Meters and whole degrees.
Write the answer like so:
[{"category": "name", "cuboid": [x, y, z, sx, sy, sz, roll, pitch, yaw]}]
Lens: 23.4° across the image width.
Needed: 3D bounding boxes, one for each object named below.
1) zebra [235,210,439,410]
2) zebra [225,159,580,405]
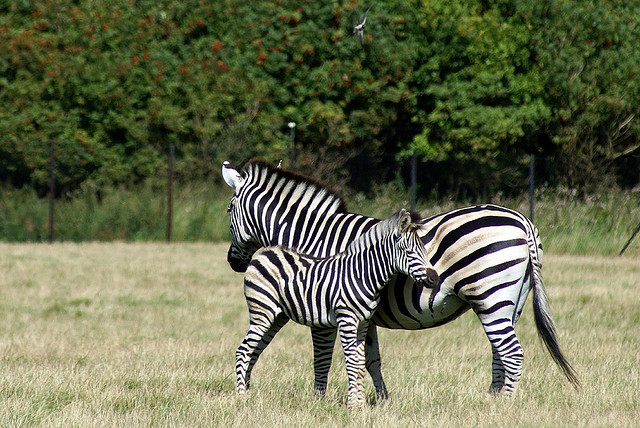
[{"category": "zebra", "cuboid": [0.238, 1.729, 30.800, 3.754, 4.352, 1.319, 3, 22, 8]}, {"category": "zebra", "cuboid": [1.510, 1.458, 31.470, 7.195, 5.646, 2.250, -2, 11, 17]}]
